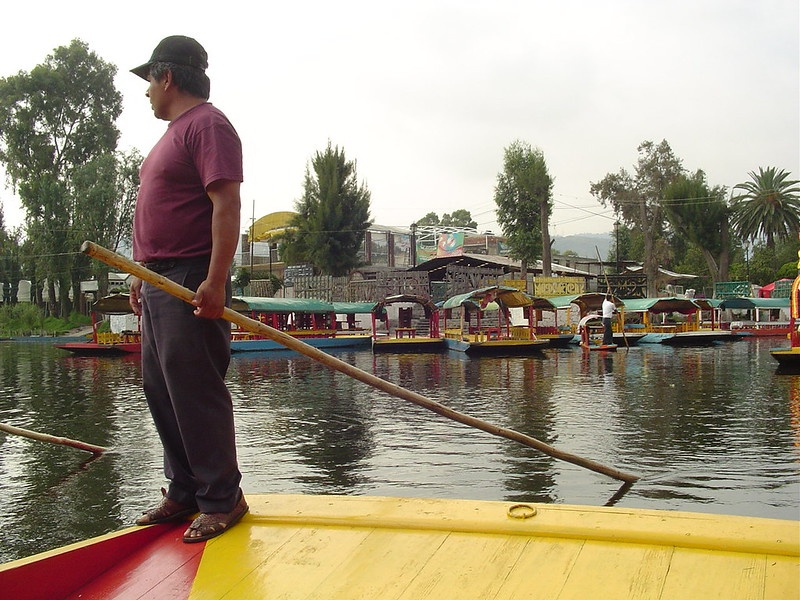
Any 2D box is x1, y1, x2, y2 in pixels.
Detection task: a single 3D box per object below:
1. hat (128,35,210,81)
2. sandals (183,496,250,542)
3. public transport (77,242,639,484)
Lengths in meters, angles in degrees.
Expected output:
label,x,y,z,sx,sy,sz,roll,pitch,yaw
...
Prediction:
label,x,y,z,sx,sy,sz,roll,pitch,yaw
hat,-1.740,-1.831,7.387,0.628,0.256,0.367,4,3,-1
sandals,-1.321,1.581,7.047,0.191,0.169,0.481,-2,-2,44
public transport,-0.293,0.931,19.336,14.960,0.921,0.449,19,-33,-23
